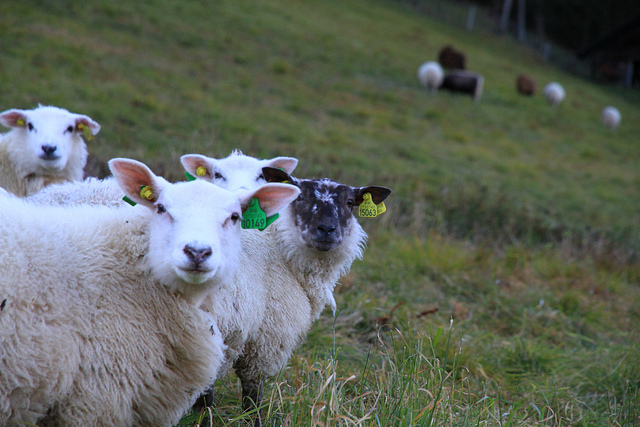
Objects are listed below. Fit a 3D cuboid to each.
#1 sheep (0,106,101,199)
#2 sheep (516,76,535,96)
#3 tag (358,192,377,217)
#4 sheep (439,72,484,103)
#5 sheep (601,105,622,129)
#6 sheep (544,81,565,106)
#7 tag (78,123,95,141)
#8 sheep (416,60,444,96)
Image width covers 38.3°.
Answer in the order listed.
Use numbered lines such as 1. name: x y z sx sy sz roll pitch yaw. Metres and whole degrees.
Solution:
1. sheep: -4.639 -1.104 15.436 1.115 1.162 1.896 2 -2 -13
2. sheep: 4.076 -2.498 18.262 0.284 0.178 0.367 11 45 -1
3. tag: 0.768 -0.156 14.827 0.330 0.469 0.165 0 -11 -1
4. sheep: 3.049 -2.625 18.734 1.169 0.521 1.186 5 7 19
5. sheep: 5.729 -1.887 18.097 0.416 0.328 0.328 24 28 16
6. sheep: 4.638 -2.334 18.160 0.357 0.448 0.439 1 1 -1
7. tag: -3.993 -1.395 15.840 0.387 0.125 0.140 46 -3 -7
8. sheep: 2.232 -2.760 18.673 0.603 0.630 0.841 3 -6 2
